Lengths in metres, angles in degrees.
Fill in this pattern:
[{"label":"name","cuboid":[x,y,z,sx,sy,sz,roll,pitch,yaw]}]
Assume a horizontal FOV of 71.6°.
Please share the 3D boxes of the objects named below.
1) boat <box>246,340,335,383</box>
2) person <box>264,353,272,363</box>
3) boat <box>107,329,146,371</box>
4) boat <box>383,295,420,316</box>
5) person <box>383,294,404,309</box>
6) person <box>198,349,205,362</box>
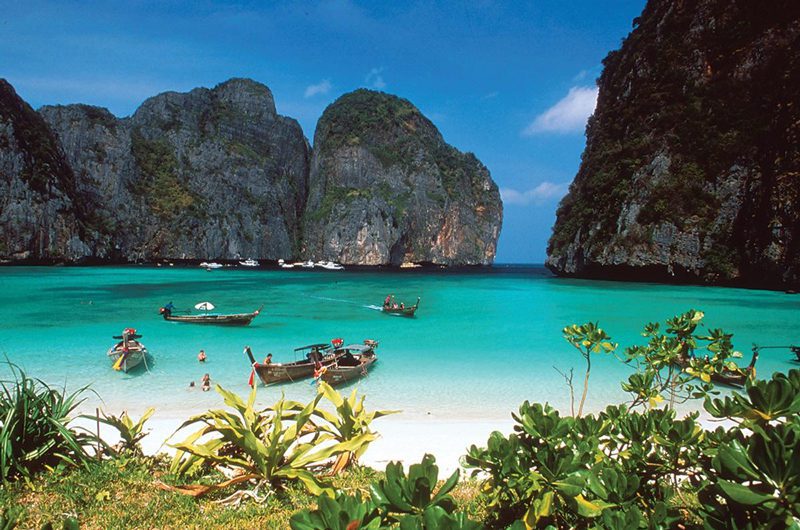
[{"label":"boat","cuboid":[-6.141,7.057,39.437,2.555,3.108,8.086,-8,-10,43]},{"label":"person","cuboid":[-9.246,6.581,38.962,0.315,0.960,0.485,19,-36,-38]},{"label":"boat","cuboid":[-19.270,6.023,39.450,2.358,2.889,1.514,3,2,-12]},{"label":"boat","cuboid":[-0.129,4.022,53.318,1.559,2.042,4.573,0,0,-44]},{"label":"person","cuboid":[-0.890,3.685,54.432,0.970,1.192,2.917,0,-6,-24]},{"label":"person","cuboid":[-14.456,6.626,40.632,0.504,0.769,1.076,2,2,-21]}]
